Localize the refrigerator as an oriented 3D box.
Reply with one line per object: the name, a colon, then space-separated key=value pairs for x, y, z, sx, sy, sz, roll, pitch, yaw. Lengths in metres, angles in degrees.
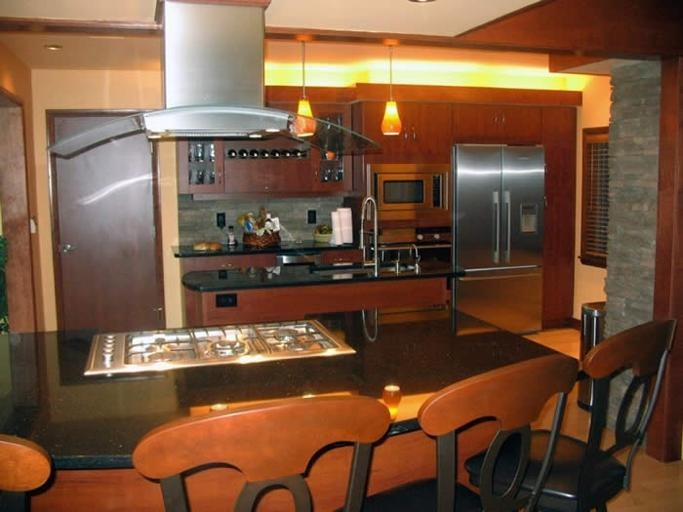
refrigerator: x=1.581 y=-0.143 z=5.828 sx=1.055 sy=1.943 sz=0.292 roll=-4 pitch=10 yaw=-19

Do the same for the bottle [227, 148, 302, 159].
bottle: x=-0.786 y=-0.998 z=5.710 sx=0.687 sy=0.110 sz=0.132 roll=-2 pitch=3 yaw=-9

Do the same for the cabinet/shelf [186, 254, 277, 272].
cabinet/shelf: x=-1.084 y=0.056 z=5.517 sx=0.913 sy=0.166 sz=0.170 roll=-2 pitch=10 yaw=-6

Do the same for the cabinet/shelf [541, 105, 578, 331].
cabinet/shelf: x=2.401 y=-0.416 z=6.305 sx=0.527 sy=2.383 sz=0.255 roll=-4 pitch=10 yaw=-18

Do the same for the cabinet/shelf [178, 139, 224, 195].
cabinet/shelf: x=-1.381 y=-0.876 z=5.564 sx=0.514 sy=0.583 sz=0.227 roll=-1 pitch=2 yaw=-16

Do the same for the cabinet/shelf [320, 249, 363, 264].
cabinet/shelf: x=-0.010 y=-0.012 z=5.732 sx=0.426 sy=0.135 sz=0.088 roll=-3 pitch=10 yaw=-12

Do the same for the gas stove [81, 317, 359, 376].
gas stove: x=-0.554 y=0.387 z=2.581 sx=1.137 sy=0.033 sz=0.601 roll=-3 pitch=10 yaw=-13

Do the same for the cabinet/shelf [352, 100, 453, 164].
cabinet/shelf: x=0.827 y=-1.231 z=5.988 sx=0.754 sy=0.645 sz=0.276 roll=4 pitch=5 yaw=20
